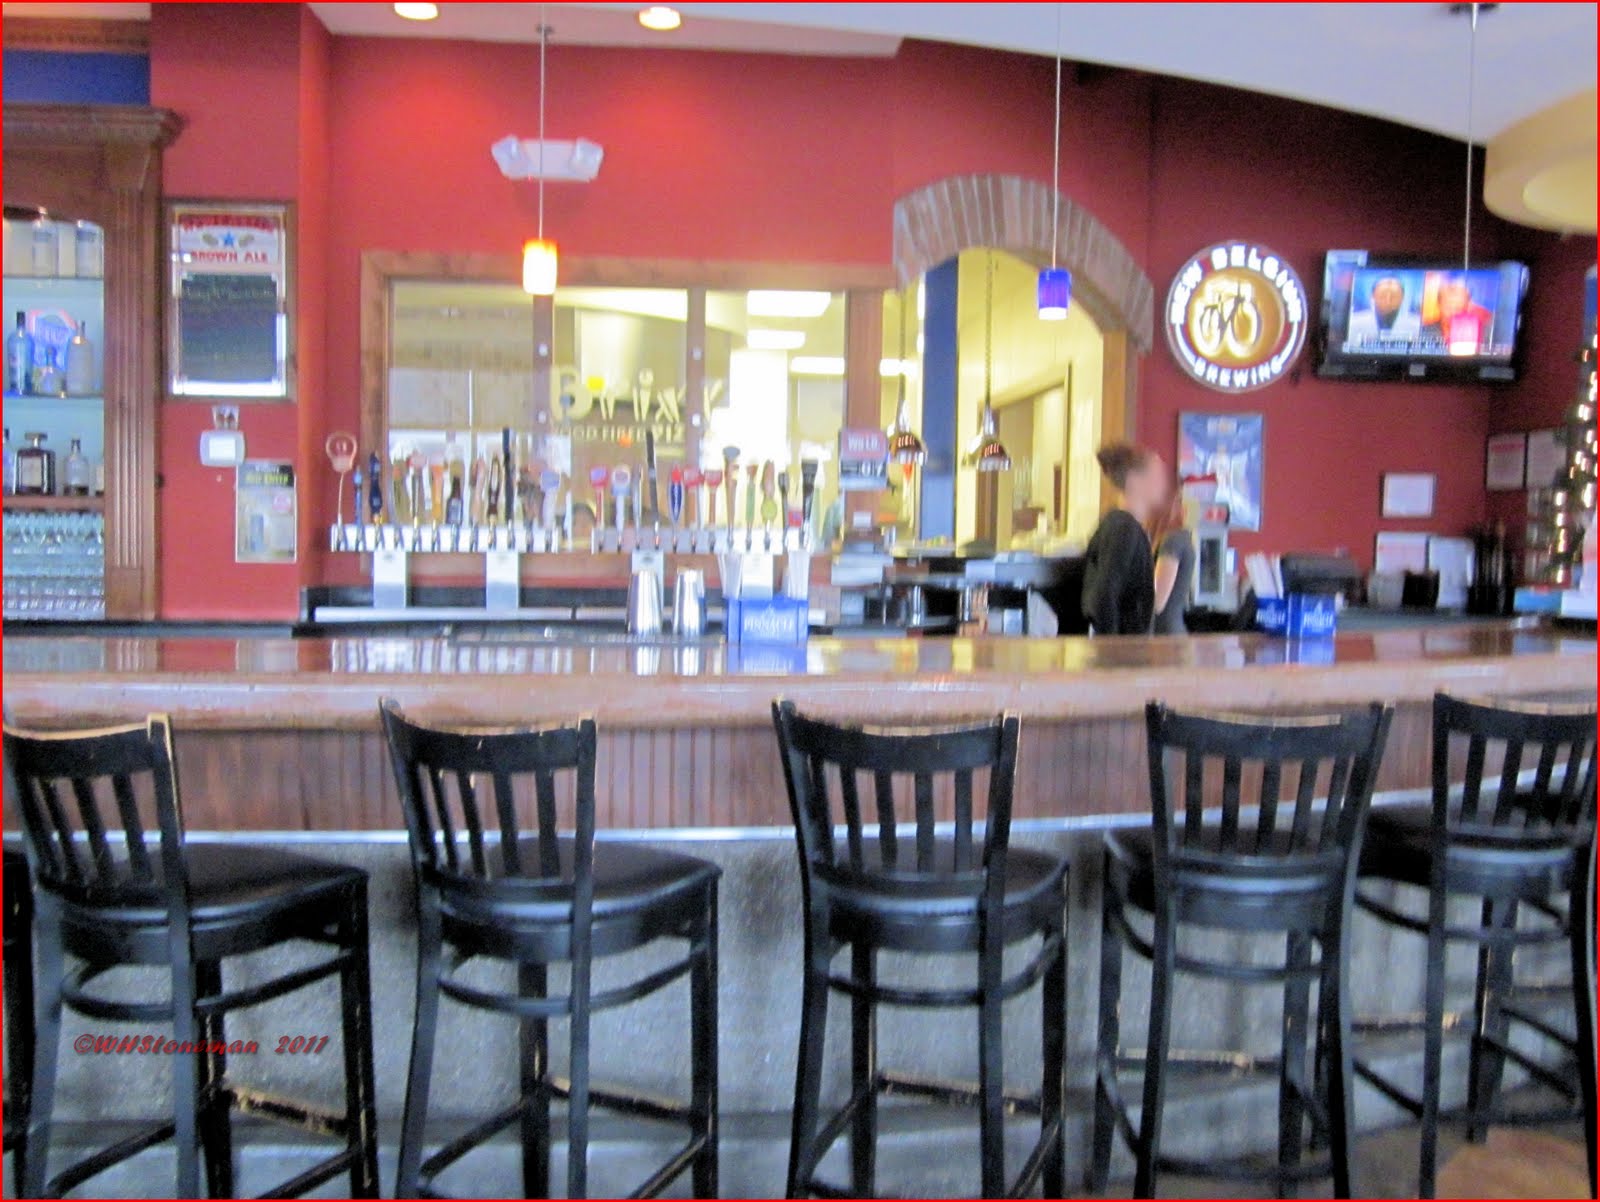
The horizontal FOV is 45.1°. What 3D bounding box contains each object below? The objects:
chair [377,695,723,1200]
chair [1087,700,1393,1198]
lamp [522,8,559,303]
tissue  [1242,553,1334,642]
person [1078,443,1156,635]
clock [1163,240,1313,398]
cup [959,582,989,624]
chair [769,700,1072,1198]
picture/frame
[{"bbox_3d":[-0.778,1.135,6.181,1.041,1.714,0.631,-2,6,-6],"label":"chair"},{"bbox_3d":[1.440,1.150,6.425,0.947,1.739,0.710,0,6,9],"label":"chair"},{"bbox_3d":[-1.292,-2.137,9.418,0.181,1.321,0.795,-2,6,-8],"label":"lamp"},{"bbox_3d":[1.895,-0.043,7.552,0.233,0.384,0.472,1,6,-12],"label":"tissue "},{"bbox_3d":[1.332,-0.243,8.024,0.352,0.768,0.929,0,7,14],"label":"person"},{"bbox_3d":[2.413,-1.577,10.768,0.662,0.849,0.099,-2,6,-1],"label":"clock"},{"bbox_3d":[0.805,0.013,9.045,0.135,0.281,0.142,2,-5,0],"label":"cup"},{"bbox_3d":[0.407,1.136,6.296,0.917,1.733,0.680,0,6,7],"label":"chair"},{"bbox_3d":[-2.795,-1.416,9.385,0.573,1.118,0.061,-6,44,-24],"label":"picture/frame"}]
